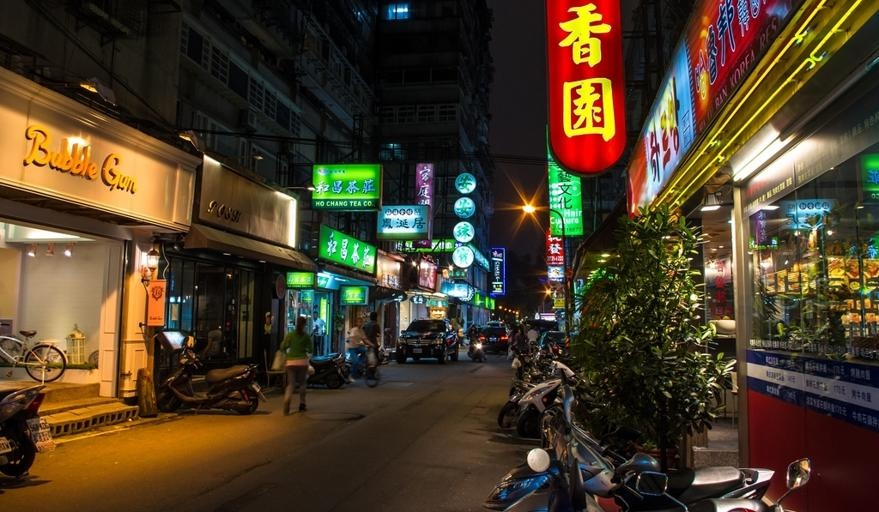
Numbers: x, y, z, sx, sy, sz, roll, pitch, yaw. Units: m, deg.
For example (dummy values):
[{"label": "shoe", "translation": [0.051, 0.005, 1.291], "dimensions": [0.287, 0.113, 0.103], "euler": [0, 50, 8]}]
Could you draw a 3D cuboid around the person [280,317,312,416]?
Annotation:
[{"label": "person", "translation": [-3.765, 2.848, 17.091], "dimensions": [0.745, 2.511, 1.180], "euler": [2, -10, -13]}]

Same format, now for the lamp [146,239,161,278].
[{"label": "lamp", "translation": [-7.342, 0.132, 16.835], "dimensions": [0.231, 0.944, 0.536], "euler": [1, -10, -10]}]

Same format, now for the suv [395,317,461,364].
[{"label": "suv", "translation": [-0.555, 4.054, 31.231], "dimensions": [2.141, 2.197, 3.222], "euler": [-4, -11, 18]}]

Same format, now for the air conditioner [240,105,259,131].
[{"label": "air conditioner", "translation": [-8.112, -5.896, 27.787], "dimensions": [0.535, 1.075, 1.173], "euler": [-3, -7, 13]}]

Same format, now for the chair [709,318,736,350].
[{"label": "chair", "translation": [6.648, 1.828, 15.218], "dimensions": [0.432, 0.789, 1.124], "euler": [-4, -11, 22]}]

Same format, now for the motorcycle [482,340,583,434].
[{"label": "motorcycle", "translation": [2.386, 3.130, 15.119], "dimensions": [1.582, 1.650, 2.722], "euler": [4, -10, -8]}]

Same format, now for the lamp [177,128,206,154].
[{"label": "lamp", "translation": [-6.751, -3.140, 17.887], "dimensions": [0.535, 0.331, 0.737], "euler": [6, -2, -2]}]
